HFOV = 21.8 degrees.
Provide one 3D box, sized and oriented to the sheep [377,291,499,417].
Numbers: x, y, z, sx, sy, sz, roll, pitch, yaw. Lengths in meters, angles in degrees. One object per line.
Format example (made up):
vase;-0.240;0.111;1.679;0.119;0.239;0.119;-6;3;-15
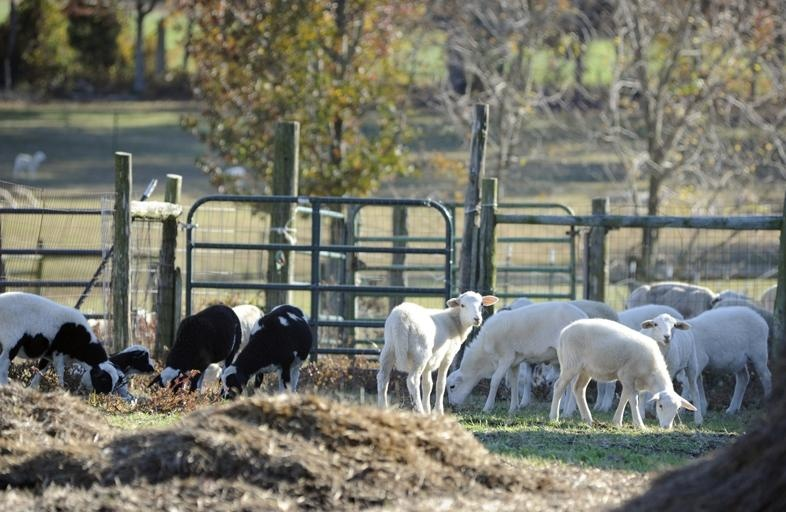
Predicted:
sheep;1.032;2.237;47.195;1.449;2.954;3.460;-5;-5;43
